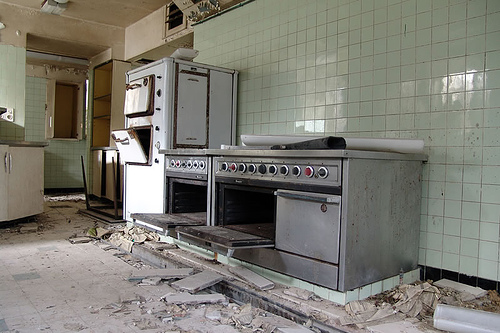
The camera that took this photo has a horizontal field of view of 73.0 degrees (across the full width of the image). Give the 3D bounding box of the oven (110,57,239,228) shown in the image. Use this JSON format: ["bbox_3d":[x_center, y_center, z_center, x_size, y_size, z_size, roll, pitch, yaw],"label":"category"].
[{"bbox_3d":[-1.067,-0.459,4.860,1.383,2.307,1.529,0,3,-38],"label":"oven"}]

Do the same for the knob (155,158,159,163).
[{"bbox_3d":[-1.161,-0.070,4.203,0.031,0.042,0.013,2,0,19],"label":"knob"}]

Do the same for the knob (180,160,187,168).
[{"bbox_3d":[-0.752,-0.027,3.816,0.077,0.070,0.020,7,3,43],"label":"knob"}]

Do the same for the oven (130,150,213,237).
[{"bbox_3d":[-0.736,0.270,3.774,0.729,0.854,0.960,5,-2,-39],"label":"oven"}]

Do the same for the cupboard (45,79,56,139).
[{"bbox_3d":[-5.161,-1.385,8.821,0.409,1.167,0.212,-3,-1,30],"label":"cupboard"}]

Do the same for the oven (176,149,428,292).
[{"bbox_3d":[0.472,0.393,2.921,1.772,1.109,1.114,2,8,27],"label":"oven"}]

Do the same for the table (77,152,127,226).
[{"bbox_3d":[-2.506,0.333,6.162,0.765,1.402,1.004,-2,7,-40],"label":"table"}]

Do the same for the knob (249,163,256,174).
[{"bbox_3d":[0.019,0.015,3.025,0.065,0.071,0.027,3,0,40],"label":"knob"}]

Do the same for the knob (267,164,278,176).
[{"bbox_3d":[0.187,0.031,2.881,0.085,0.079,0.031,-20,-9,38],"label":"knob"}]

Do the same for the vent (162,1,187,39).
[{"bbox_3d":[-1.230,-2.633,6.043,0.626,0.600,0.215,4,4,45],"label":"vent"}]

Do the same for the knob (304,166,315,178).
[{"bbox_3d":[0.466,0.044,2.677,0.080,0.076,0.028,5,2,43],"label":"knob"}]
